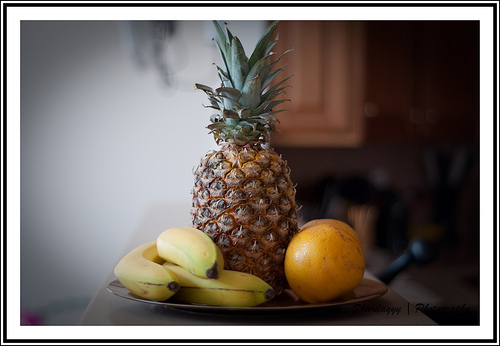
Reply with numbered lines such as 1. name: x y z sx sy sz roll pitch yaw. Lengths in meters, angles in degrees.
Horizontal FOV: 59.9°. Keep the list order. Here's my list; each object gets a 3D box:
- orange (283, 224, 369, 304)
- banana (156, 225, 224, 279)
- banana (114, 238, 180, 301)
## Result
1. orange: 0.202 0.250 1.261 0.246 0.218 0.242 -2 -3 -27
2. banana: -0.165 0.216 1.213 0.121 0.109 0.260 -14 25 -42
3. banana: -0.313 0.277 1.284 0.186 0.092 0.368 -9 9 -12
